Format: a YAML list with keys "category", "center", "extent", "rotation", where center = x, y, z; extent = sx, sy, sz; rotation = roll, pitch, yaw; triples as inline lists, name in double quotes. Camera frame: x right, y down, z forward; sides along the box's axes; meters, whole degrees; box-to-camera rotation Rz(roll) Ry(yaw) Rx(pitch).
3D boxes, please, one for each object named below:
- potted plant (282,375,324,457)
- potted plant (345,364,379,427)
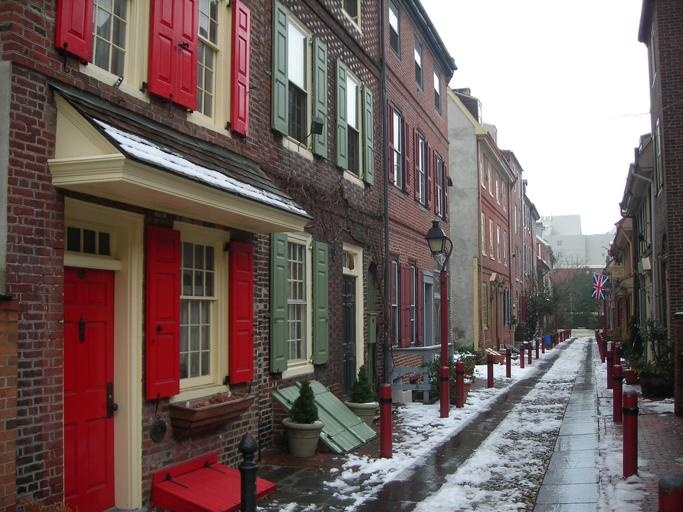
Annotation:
- category: "potted plant"
  center: [-0.582, 2.532, 9.917]
  extent: [0.646, 1.124, 0.632]
  rotation: [6, -5, -32]
- category: "potted plant"
  center: [0.393, 2.771, 12.149]
  extent: [0.626, 1.194, 0.689]
  rotation: [-12, -13, 11]
